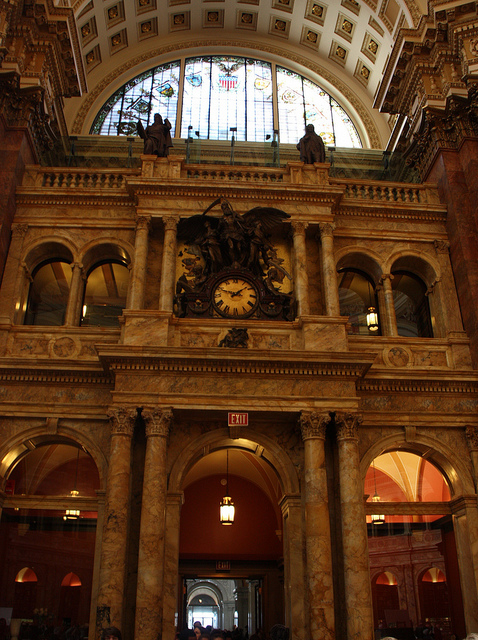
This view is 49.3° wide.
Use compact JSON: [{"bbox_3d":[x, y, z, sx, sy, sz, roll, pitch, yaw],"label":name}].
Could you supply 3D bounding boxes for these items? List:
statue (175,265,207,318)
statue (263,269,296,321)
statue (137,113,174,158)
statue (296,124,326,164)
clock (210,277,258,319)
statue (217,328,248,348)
[{"bbox_3d":[-0.889,-0.490,9.598,0.537,0.984,0.343,-1,-55,-3],"label":"statue"},{"bbox_3d":[0.739,-0.474,9.826,0.751,0.266,1.237,4,-53,-7],"label":"statue"},{"bbox_3d":[-1.935,-4.146,11.777,0.802,1.165,0.523,4,-21,-13],"label":"statue"},{"bbox_3d":[1.602,-4.014,11.869,0.614,0.384,1.156,-11,-30,3],"label":"statue"},{"bbox_3d":[-0.119,-0.379,9.579,0.799,0.808,0.074,8,-38,-1],"label":"clock"},{"bbox_3d":[-0.113,0.307,8.724,0.347,0.338,0.097,1,-46,-1],"label":"statue"}]
